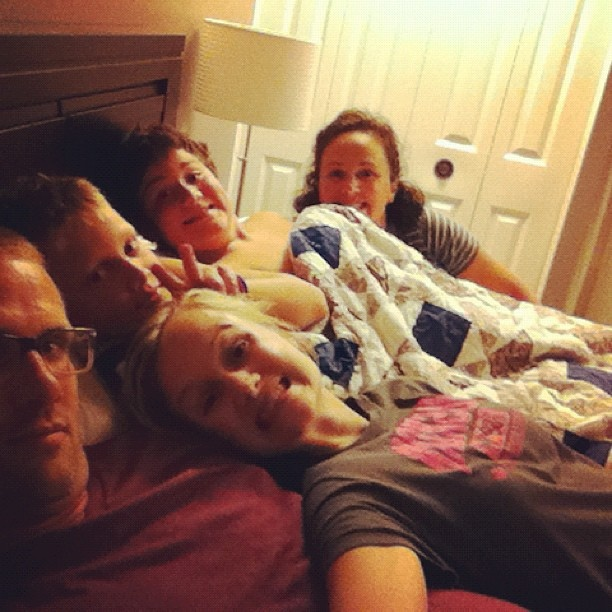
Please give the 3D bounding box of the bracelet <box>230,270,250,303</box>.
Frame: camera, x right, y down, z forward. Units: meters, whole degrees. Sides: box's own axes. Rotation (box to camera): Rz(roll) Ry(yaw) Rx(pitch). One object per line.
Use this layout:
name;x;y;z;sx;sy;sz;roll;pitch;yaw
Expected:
bracelet;-0.122;-0.037;1.228;0.019;0.049;0.045;-25;62;-2
